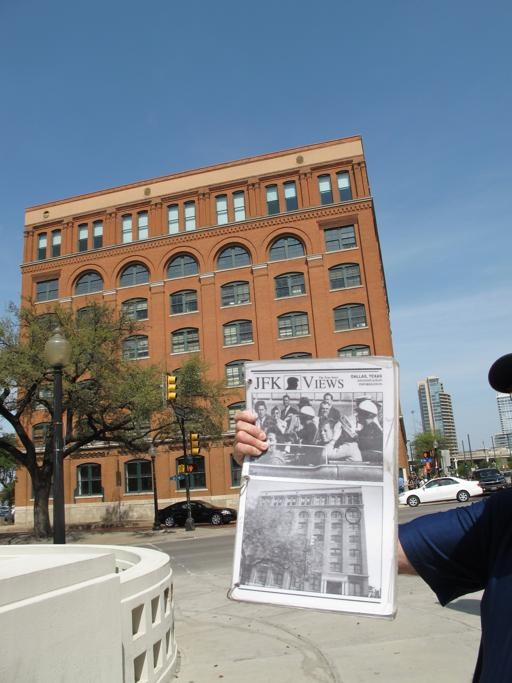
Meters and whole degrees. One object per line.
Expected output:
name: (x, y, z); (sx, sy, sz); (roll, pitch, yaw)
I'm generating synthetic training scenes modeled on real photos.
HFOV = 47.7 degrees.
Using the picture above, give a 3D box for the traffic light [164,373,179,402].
traffic light: (-2.598, 1.372, 18.065); (0.284, 0.899, 1.139); (-2, -12, -11)

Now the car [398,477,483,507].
car: (8.591, 6.956, 26.881); (3.864, 1.150, 1.570); (-6, -21, 16)

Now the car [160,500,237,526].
car: (-3.084, 8.884, 29.921); (3.980, 1.165, 1.153); (-8, -13, 21)
